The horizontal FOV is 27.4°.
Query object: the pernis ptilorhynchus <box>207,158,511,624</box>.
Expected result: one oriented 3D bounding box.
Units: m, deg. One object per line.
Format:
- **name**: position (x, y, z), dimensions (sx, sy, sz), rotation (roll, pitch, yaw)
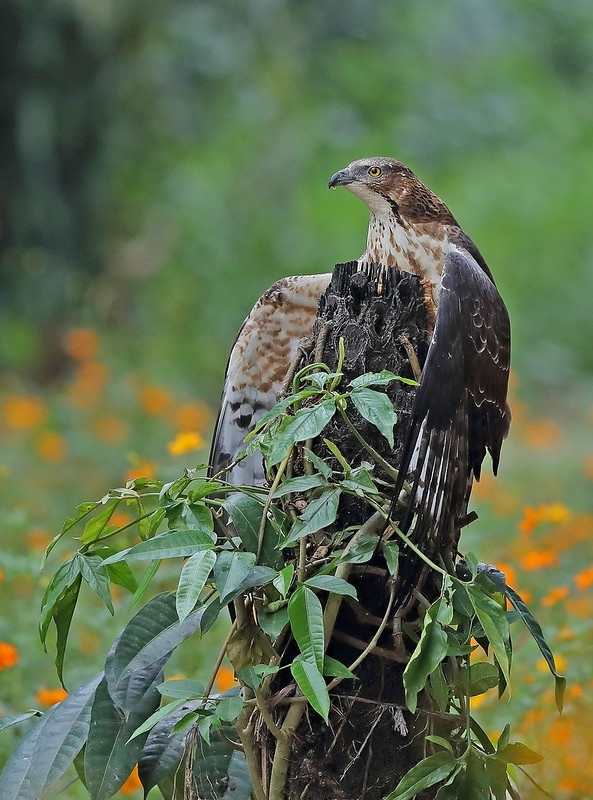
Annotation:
- **pernis ptilorhynchus**: position (0.122, -0.058, 1.817), dimensions (0.465, 0.616, 0.409), rotation (3, -9, -42)
